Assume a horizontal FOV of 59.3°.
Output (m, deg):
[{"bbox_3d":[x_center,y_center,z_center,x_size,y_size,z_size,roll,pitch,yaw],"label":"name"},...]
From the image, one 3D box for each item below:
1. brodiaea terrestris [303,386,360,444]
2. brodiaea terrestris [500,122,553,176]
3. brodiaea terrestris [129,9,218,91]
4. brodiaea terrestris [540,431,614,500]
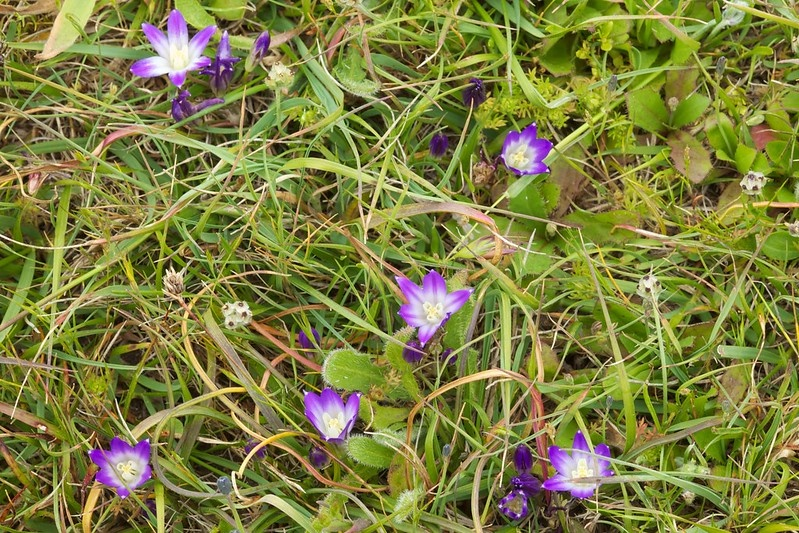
[{"bbox_3d":[-0.237,0.507,2.484,0.165,0.181,0.191,-17,45,-1],"label":"brodiaea terrestris"},{"bbox_3d":[0.475,-0.477,2.773,0.170,0.200,0.105,8,81,5],"label":"brodiaea terrestris"},{"bbox_3d":[-0.855,-0.807,2.712,0.376,0.383,0.233,4,83,-13],"label":"brodiaea terrestris"},{"bbox_3d":[0.629,0.697,2.452,0.247,0.285,0.206,11,63,6],"label":"brodiaea terrestris"}]
